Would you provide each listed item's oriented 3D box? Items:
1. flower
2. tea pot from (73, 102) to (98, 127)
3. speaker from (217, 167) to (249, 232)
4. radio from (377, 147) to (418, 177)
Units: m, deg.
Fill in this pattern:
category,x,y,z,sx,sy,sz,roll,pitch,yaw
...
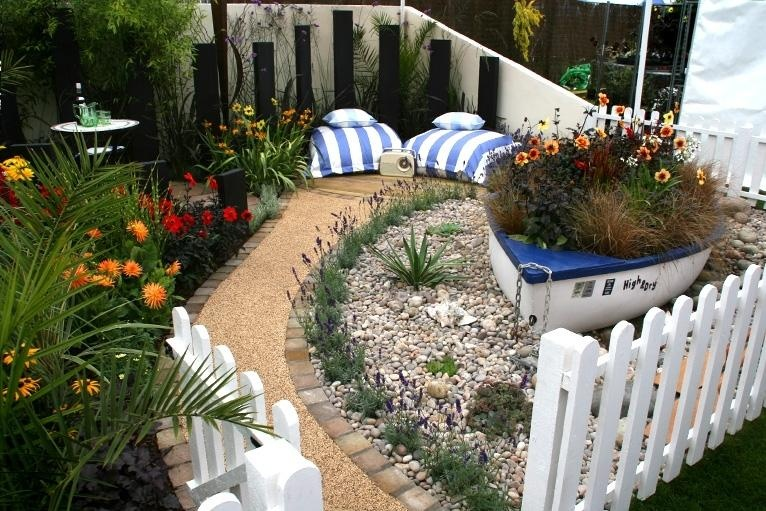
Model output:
category,x,y,z,sx,sy,sz,roll,pitch,yaw
flower,1.976,-0.560,4.752,1.585,0.763,1.646,19,42,32
tea pot,-3.513,-1.689,6.228,0.218,0.255,0.340,-10,25,-29
speaker,-1.577,-0.610,5.485,0.282,0.530,0.612,-5,23,-16
radio,0.223,-1.420,8.166,0.555,0.548,0.409,1,10,6
